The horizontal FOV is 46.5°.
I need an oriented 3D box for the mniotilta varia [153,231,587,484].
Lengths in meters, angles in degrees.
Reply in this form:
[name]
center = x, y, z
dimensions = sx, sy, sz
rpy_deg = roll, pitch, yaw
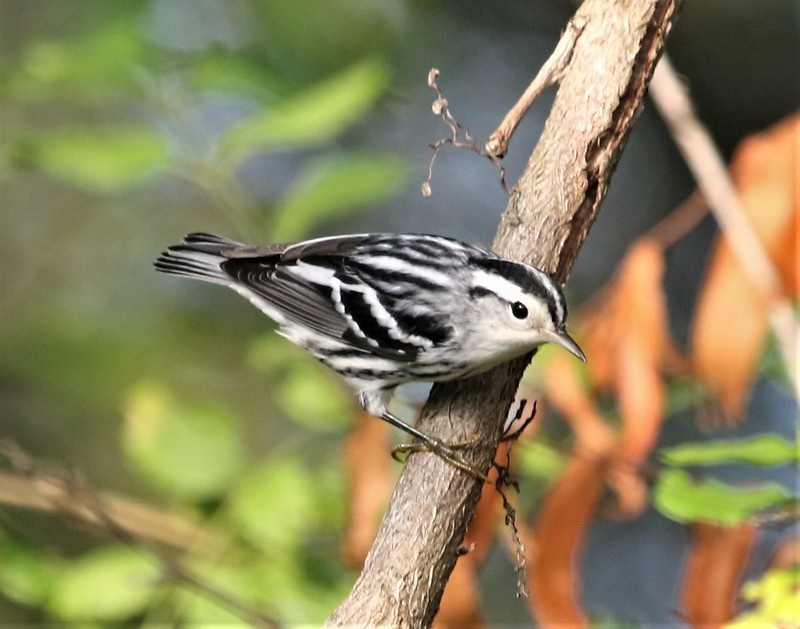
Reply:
[mniotilta varia]
center = -0.089, 0.009, 2.463
dimensions = 1.177, 0.357, 0.511
rpy_deg = 14, -61, 21
